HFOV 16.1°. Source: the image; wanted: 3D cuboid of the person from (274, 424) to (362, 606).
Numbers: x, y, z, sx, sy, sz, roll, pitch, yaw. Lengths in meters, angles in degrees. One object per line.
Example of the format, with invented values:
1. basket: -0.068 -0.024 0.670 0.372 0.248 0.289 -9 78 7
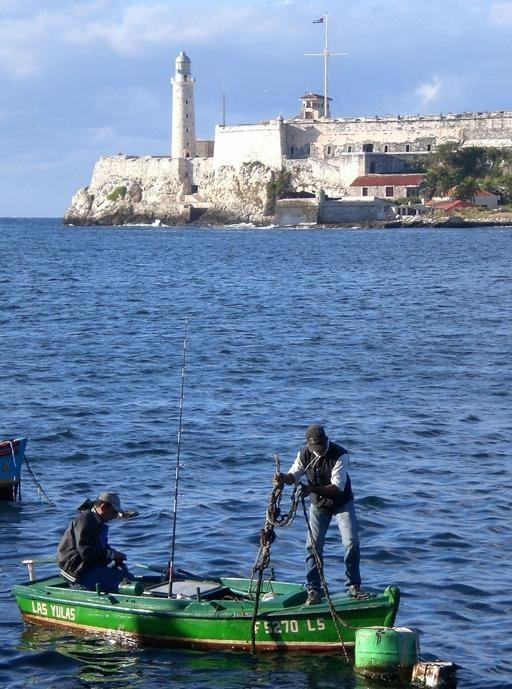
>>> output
1. person: 0.649 1.588 17.232 0.716 1.688 0.635 0 9 0

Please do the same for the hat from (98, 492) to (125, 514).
1. hat: -1.381 1.508 17.575 0.237 0.146 0.166 31 2 -5

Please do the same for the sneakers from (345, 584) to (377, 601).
1. sneakers: 1.002 2.346 17.132 0.291 0.208 0.107 -9 -1 30

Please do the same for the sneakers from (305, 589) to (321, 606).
1. sneakers: 0.555 2.401 17.192 0.101 0.136 0.300 -1 -7 8

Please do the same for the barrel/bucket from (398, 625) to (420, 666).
1. barrel/bucket: 1.402 2.768 16.537 0.234 0.299 0.270 0 -4 -10

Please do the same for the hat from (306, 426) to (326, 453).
1. hat: 0.587 0.886 17.143 0.191 0.273 0.241 0 9 1

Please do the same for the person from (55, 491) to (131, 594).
1. person: -1.553 2.006 17.840 0.674 1.178 0.561 2 6 -6

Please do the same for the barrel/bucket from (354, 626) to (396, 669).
1. barrel/bucket: 1.105 2.771 16.596 0.324 0.328 0.351 0 -8 0

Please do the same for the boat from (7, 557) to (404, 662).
1. boat: -0.453 2.619 17.490 3.659 1.006 1.359 4 1 17
